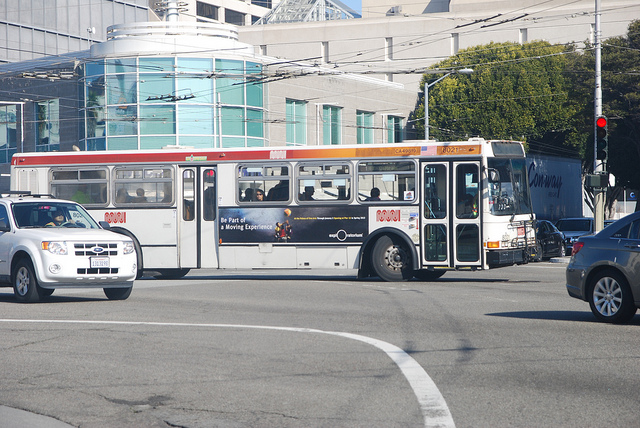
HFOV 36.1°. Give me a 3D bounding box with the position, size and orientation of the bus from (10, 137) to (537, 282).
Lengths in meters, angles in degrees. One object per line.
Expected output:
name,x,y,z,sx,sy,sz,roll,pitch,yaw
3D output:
bus,-1.734,-0.073,30.829,15.886,3.898,3.909,-1,1,20

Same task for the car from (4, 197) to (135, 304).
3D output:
car,-6.515,0.683,24.238,2.082,1.688,3.473,2,-4,-40

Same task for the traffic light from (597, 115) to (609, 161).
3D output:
traffic light,9.602,-2.583,33.465,0.314,1.469,0.699,2,10,15

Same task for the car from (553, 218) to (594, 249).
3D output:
car,10.039,0.734,38.894,1.254,1.034,2.690,-2,-6,26
